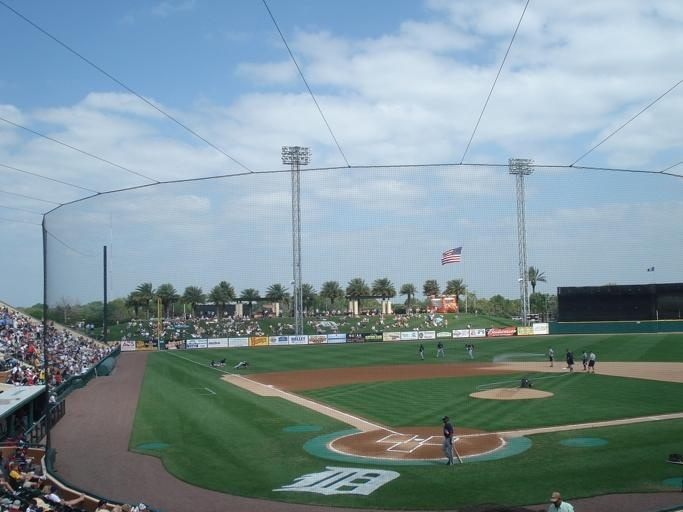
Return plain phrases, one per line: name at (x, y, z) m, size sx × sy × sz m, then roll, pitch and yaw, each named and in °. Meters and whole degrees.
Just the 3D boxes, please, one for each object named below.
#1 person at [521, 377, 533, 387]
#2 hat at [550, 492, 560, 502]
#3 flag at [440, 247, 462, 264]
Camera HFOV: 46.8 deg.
person at (12.855, 8.876, 54.837) m, size 0.779 × 0.709 × 1.043 m, roll -1°, pitch 1°, yaw 11°
hat at (8.683, 9.709, 31.874) m, size 0.327 × 0.386 × 0.844 m, roll -1°, pitch 1°, yaw 17°
flag at (11.362, 0.100, 80.275) m, size 2.159 × 1.720 × 0.178 m, roll 6°, pitch 3°, yaw 34°
